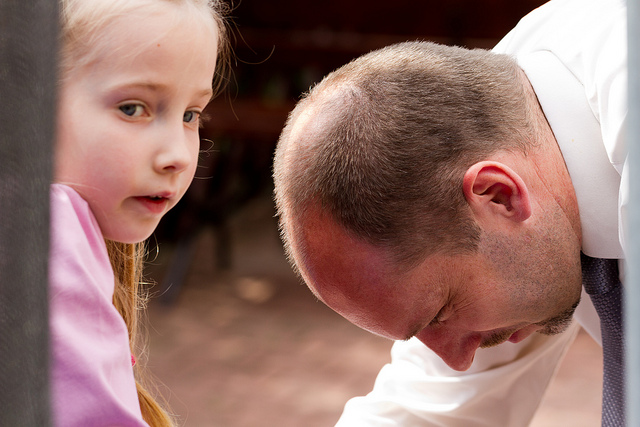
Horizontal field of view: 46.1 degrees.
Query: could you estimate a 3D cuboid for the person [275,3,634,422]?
[{"bbox_3d":[0.260,0.033,1.354,0.580,0.799,0.544,4,15,19],"label":"person"}]
